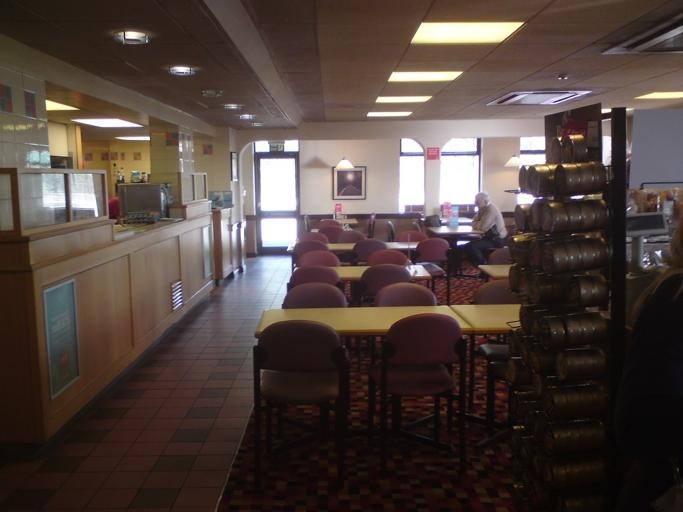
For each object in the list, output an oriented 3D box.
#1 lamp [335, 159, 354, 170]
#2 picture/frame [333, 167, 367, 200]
[{"bbox_3d":[0.075,-2.018,11.700,0.311,0.188,0.303,1,9,-2],"label":"lamp"},{"bbox_3d":[0.168,-1.734,12.330,0.719,0.745,0.054,1,4,-4],"label":"picture/frame"}]
